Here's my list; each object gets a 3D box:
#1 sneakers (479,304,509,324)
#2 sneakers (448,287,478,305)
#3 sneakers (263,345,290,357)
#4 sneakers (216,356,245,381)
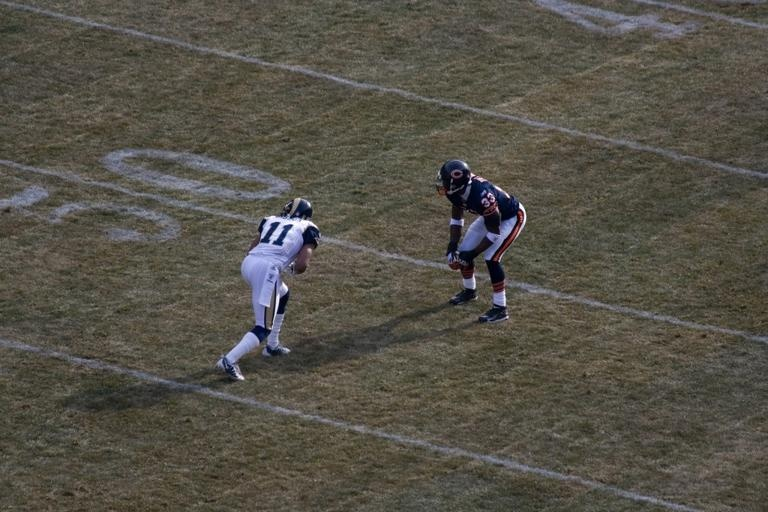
[{"bbox_3d":[1.424,0.791,21.061,0.546,0.189,0.150,-9,49,-8],"label":"sneakers"},{"bbox_3d":[1.112,0.555,21.448,0.508,0.170,0.152,-9,34,-19],"label":"sneakers"},{"bbox_3d":[-1.412,1.255,20.272,0.429,0.153,0.107,-2,64,-9],"label":"sneakers"},{"bbox_3d":[-1.965,1.430,19.805,0.337,0.326,0.229,-2,39,-4],"label":"sneakers"}]
